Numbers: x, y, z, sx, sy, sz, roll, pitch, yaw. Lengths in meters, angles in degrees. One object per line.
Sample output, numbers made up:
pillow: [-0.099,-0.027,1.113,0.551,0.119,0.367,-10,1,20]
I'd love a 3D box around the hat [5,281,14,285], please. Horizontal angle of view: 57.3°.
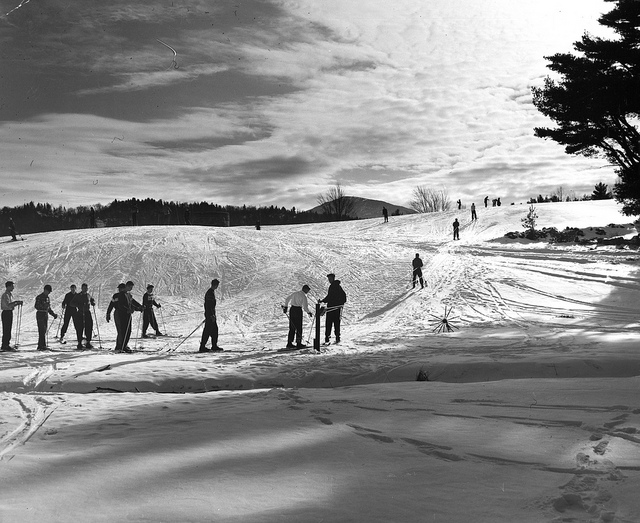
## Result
hat: [-8.725,0.613,16.627,0.204,0.103,0.286,-1,-1,32]

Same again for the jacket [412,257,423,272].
jacket: [4.421,0.148,26.701,0.378,0.627,0.693,-2,2,8]

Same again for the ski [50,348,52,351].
ski: [-7.343,2.422,16.031,0.039,0.036,0.035,-22,43,-14]

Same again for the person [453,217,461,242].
person: [9.867,-2.256,42.587,0.460,1.505,1.288,-2,2,12]

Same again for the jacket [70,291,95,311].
jacket: [-7.106,1.185,17.505,0.787,0.554,0.434,-2,2,-1]

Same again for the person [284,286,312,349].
person: [-0.612,1.549,16.342,0.713,1.720,1.192,-2,2,-2]

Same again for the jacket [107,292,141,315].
jacket: [-6.057,1.325,18.111,1.368,0.642,0.398,-1,9,23]

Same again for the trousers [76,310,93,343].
trousers: [-6.929,1.942,17.269,0.418,1.000,0.949,-3,3,-23]

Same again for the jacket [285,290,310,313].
jacket: [-0.635,1.121,16.256,0.604,0.588,0.554,-2,2,-4]

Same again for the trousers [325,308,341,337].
trousers: [0.398,1.780,17.325,0.452,0.848,0.551,-2,2,1]

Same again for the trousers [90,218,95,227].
trousers: [-16.532,-2.837,42.691,0.224,0.588,0.544,-3,3,-26]

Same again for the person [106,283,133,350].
person: [-5.568,1.531,16.519,0.563,1.792,1.048,-3,2,-19]

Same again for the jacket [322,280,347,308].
jacket: [0.437,0.958,17.095,0.537,0.747,0.645,-2,2,13]

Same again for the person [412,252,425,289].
person: [4.522,0.417,27.117,0.536,1.567,1.523,-2,2,9]

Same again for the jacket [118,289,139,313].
jacket: [-5.467,1.072,16.492,0.304,0.641,0.645,-2,2,-4]
